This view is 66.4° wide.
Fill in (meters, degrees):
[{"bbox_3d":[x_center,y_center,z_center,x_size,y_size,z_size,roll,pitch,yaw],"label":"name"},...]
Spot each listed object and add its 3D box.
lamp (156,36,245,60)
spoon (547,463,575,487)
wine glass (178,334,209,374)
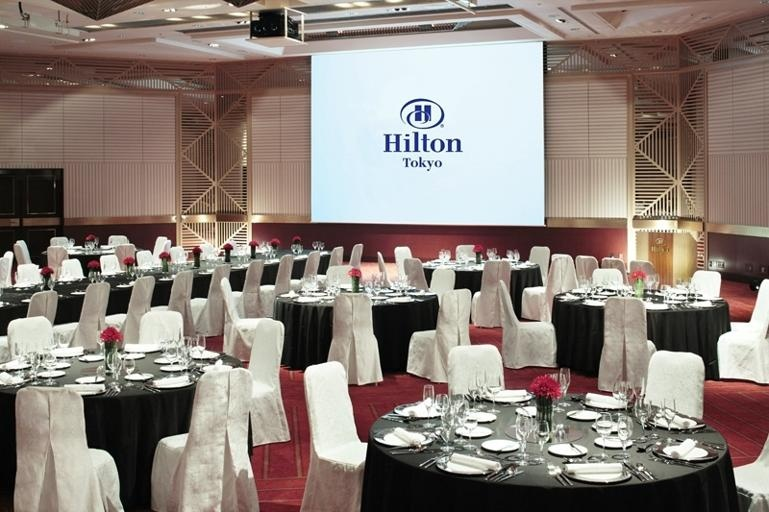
[{"bbox_3d":[-4.591,-5.149,14.686,0.682,0.192,2.719,-2,5,27],"label":"lamp"},{"bbox_3d":[1.052,1.319,3.549,0.045,0.027,0.181,-3,12,-8],"label":"spoon"},{"bbox_3d":[-1.753,0.887,5.386,0.246,0.416,0.243,1,2,3],"label":"wine glass"}]
